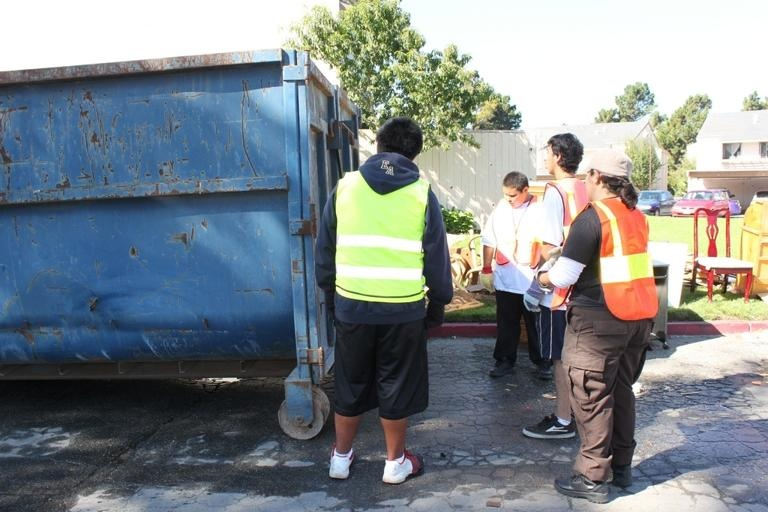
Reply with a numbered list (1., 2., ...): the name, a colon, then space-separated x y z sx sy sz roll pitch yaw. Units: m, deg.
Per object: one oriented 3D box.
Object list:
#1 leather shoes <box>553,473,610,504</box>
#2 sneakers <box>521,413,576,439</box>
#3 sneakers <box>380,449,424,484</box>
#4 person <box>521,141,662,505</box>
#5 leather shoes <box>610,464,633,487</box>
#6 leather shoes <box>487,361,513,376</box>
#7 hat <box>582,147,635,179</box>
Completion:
1. leather shoes: 1.602 1.862 5.333 0.437 0.222 0.188 6 1 25
2. sneakers: 1.557 1.642 6.216 0.522 0.241 0.202 1 -6 6
3. sneakers: 0.153 1.800 5.566 0.159 0.206 0.420 0 4 34
4. person: 1.752 0.556 5.271 0.844 2.745 0.676 -9 16 -32
5. leather shoes: 1.968 1.837 5.400 0.104 0.146 0.207 -2 7 7
6. leather shoes: 1.347 1.333 7.605 0.316 0.238 0.125 1 0 -14
7. hat: 1.782 -0.782 5.307 0.239 0.184 0.338 2 13 -12
